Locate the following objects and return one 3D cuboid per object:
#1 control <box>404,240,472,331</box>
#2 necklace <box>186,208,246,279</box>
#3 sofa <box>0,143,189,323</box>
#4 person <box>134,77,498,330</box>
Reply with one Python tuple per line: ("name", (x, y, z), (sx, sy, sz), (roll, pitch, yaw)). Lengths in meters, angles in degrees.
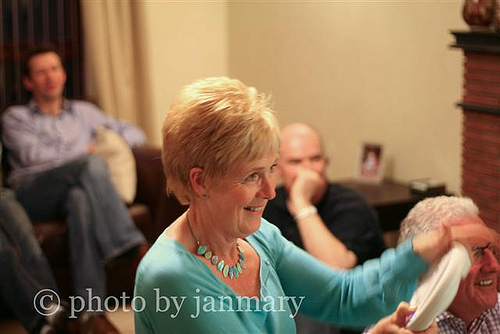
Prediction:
("control", (0.330, 0.235, 0.873), (0.162, 0.054, 0.122), (-41, 9, 26))
("necklace", (-0.083, 0.165, 0.923), (0.016, 0.139, 0.105), (-28, 0, 35))
("sofa", (-0.480, 0.211, 1.355), (0.329, 0.432, 0.606), (5, 13, 34))
("person", (0.085, 0.034, 1.176), (0.740, 0.789, 0.448), (-1, 11, 9))
